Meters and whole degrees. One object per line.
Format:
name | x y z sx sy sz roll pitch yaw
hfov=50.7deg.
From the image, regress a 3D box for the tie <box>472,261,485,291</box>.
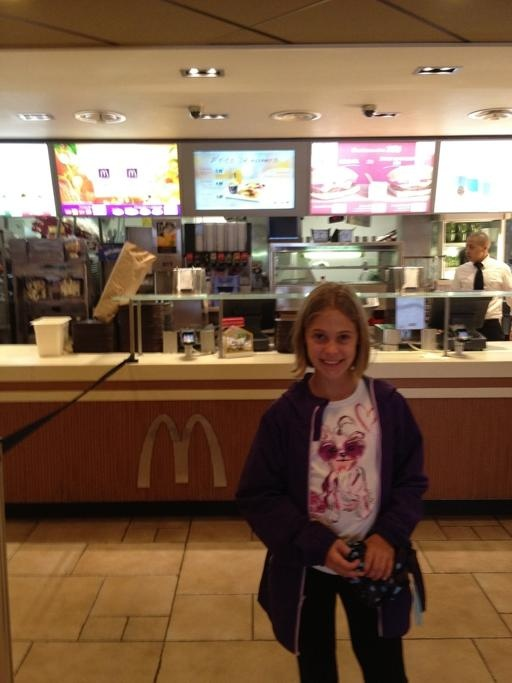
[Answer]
tie | 2.043 -0.608 4.991 0.081 0.254 0.213 1 5 22
